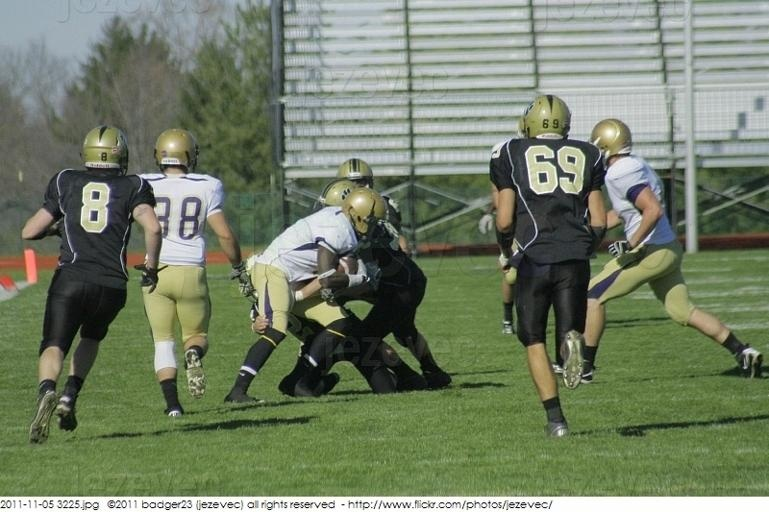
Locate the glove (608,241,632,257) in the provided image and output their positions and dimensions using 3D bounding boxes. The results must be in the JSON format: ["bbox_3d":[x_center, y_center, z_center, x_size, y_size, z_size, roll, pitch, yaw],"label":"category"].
[{"bbox_3d":[3.866,-0.148,23.650,0.328,0.143,0.212,-6,-17,-30],"label":"glove"}]

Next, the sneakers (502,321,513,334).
[{"bbox_3d":[2.299,1.296,26.766,0.224,0.238,0.134,-8,1,11],"label":"sneakers"}]

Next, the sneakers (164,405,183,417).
[{"bbox_3d":[-3.347,2.453,22.991,0.232,0.107,0.139,-9,-24,31],"label":"sneakers"}]
